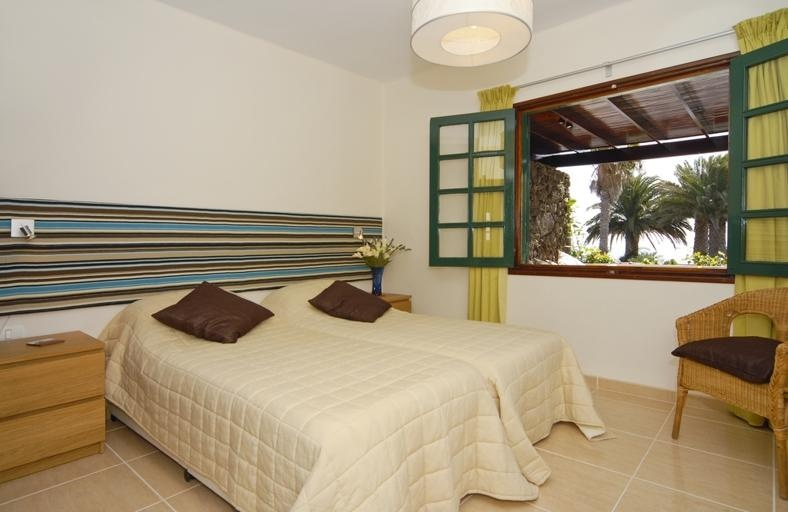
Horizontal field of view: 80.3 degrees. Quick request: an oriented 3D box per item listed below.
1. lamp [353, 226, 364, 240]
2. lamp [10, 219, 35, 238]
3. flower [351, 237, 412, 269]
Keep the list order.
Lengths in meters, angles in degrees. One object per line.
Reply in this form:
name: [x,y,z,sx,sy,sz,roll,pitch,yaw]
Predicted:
lamp: [-0.477,-0.320,6.151,0.164,0.191,0.142,0,-1,26]
lamp: [-3.191,-0.225,4.042,0.142,0.191,0.192,5,4,39]
flower: [-0.260,-0.043,5.973,0.507,0.281,0.520,-3,-7,22]
